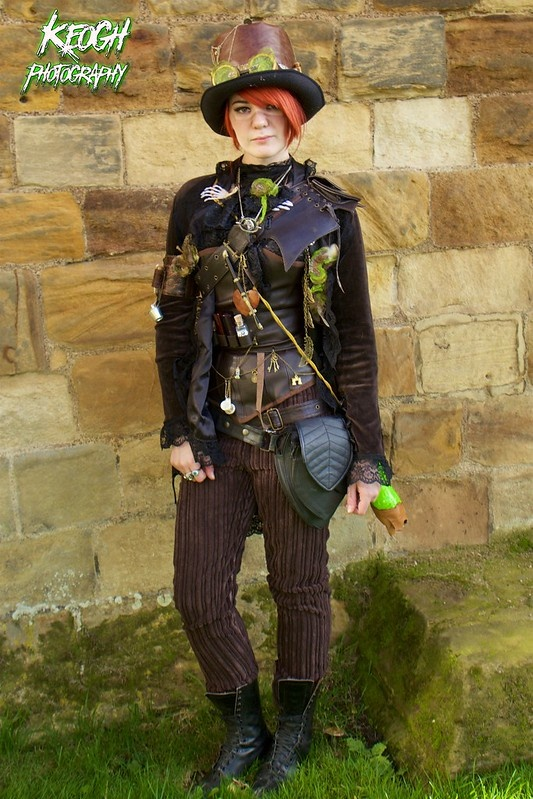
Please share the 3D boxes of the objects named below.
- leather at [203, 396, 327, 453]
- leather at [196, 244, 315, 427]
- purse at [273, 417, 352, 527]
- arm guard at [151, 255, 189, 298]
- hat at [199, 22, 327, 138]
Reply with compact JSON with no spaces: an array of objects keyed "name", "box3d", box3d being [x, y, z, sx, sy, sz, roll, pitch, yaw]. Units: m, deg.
[{"name":"leather","box3d":[0.013,0.064,1.782,0.200,0.067,0.151,-16,2,-14]},{"name":"leather","box3d":[-0.022,-0.146,1.748,0.277,0.416,0.195,-2,-3,2]},{"name":"purse","box3d":[0.126,0.187,1.755,0.184,0.291,0.121,1,-4,-42]},{"name":"arm guard","box3d":[-0.247,-0.327,1.843,0.113,0.102,0.100,4,12,-6]},{"name":"hat","box3d":[-0.032,-0.803,1.759,0.261,0.181,0.266,-3,-11,3]}]
